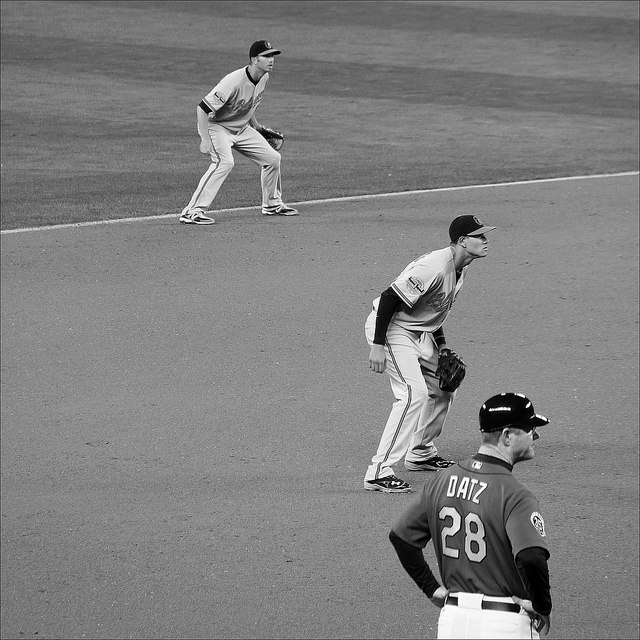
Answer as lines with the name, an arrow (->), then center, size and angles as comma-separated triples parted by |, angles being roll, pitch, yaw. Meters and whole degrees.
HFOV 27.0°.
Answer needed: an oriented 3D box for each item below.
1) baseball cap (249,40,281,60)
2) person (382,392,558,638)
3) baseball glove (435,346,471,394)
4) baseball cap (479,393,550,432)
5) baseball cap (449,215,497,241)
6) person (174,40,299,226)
baseball cap -> -0.565, -2.712, 13.431 | 0.270, 0.152, 0.184 | -12, 9, 26
person -> 0.922, 1.141, 7.464 | 0.910, 1.188, 0.631 | -25, -43, 37
baseball glove -> 0.933, 0.367, 9.734 | 0.262, 0.325, 0.131 | -5, 2, -26
baseball cap -> 1.091, 0.499, 7.496 | 0.442, 0.206, 0.309 | -4, 6, 5
baseball cap -> 1.056, -0.646, 9.377 | 0.251, 0.121, 0.171 | -7, 11, 13
person -> -0.797, -1.852, 13.735 | 1.085, 1.250, 1.660 | 4, -32, -1
